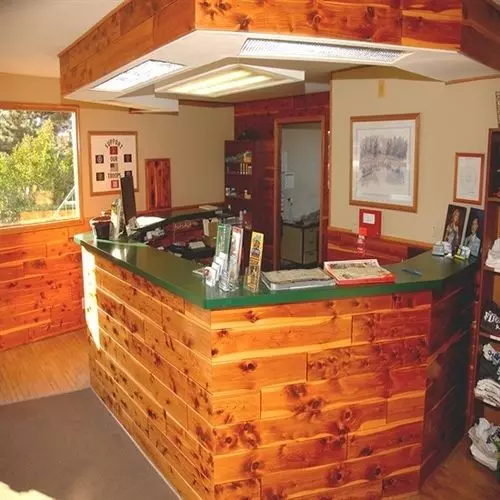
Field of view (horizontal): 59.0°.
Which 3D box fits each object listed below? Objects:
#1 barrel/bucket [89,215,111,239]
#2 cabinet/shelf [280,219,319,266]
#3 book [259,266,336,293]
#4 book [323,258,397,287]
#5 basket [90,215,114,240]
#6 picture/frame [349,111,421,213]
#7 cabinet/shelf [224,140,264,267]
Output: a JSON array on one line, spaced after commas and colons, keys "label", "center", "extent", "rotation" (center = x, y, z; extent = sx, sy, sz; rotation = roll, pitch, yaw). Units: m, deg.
[{"label": "barrel/bucket", "center": [-1.296, -0.200, 3.891], "extent": [0.214, 0.150, 0.197], "rotation": [3, 11, 0]}, {"label": "cabinet/shelf", "center": [0.842, -0.101, 7.400], "extent": [0.628, 0.744, 0.418], "rotation": [0, 13, 5]}, {"label": "book", "center": [0.256, 0.155, 2.491], "extent": [0.394, 0.060, 0.303], "rotation": [-4, 13, -17]}, {"label": "book", "center": [0.626, 0.119, 2.633], "extent": [0.376, 0.076, 0.397], "rotation": [-2, 12, -6]}, {"label": "basket", "center": [-1.296, -0.207, 3.876], "extent": [0.217, 0.148, 0.213], "rotation": [7, 12, 24]}, {"label": "picture/frame", "center": [1.295, -0.851, 4.143], "extent": [0.081, 1.099, 1.002], "rotation": [-8, 11, -42]}, {"label": "cabinet/shelf", "center": [-0.010, -0.674, 6.860], "extent": [0.252, 2.107, 0.734], "rotation": [-14, 17, -27]}]
